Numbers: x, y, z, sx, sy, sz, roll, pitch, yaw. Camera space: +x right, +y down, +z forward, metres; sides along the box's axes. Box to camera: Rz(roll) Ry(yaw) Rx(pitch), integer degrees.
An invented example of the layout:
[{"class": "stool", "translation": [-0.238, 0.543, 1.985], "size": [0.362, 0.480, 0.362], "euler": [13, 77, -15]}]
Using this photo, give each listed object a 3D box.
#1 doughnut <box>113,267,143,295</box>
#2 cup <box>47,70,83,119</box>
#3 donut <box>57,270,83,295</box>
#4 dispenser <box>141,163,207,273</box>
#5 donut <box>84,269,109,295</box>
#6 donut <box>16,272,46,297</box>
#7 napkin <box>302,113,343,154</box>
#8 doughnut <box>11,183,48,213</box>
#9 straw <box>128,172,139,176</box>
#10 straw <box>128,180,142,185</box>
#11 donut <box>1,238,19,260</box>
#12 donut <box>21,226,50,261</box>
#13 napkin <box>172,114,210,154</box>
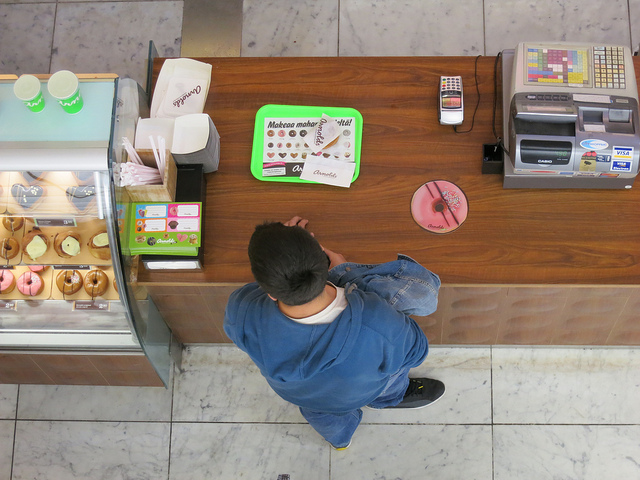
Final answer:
[{"class": "doughnut", "translation": [-0.884, 0.184, 2.730], "size": [0.128, 0.132, 0.055], "euler": [1, 2, -7]}, {"class": "cup", "translation": [-1.120, -0.632, 2.568], "size": [0.153, 0.149, 0.193], "euler": [-14, -6, -10]}, {"class": "donut", "translation": [-1.211, 0.206, 2.829], "size": [0.120, 0.110, 0.039], "euler": [8, -2, 0]}, {"class": "dispenser", "translation": [-0.693, -0.032, 2.822], "size": [0.269, 0.095, 0.430], "euler": [-9, 45, -8]}, {"class": "donut", "translation": [-1.079, 0.207, 2.812], "size": [0.124, 0.113, 0.043], "euler": [1, -5, 3]}, {"class": "donut", "translation": [-1.402, 0.216, 2.838], "size": [0.117, 0.108, 0.039], "euler": [9, -1, -3]}, {"class": "napkin", "translation": [0.014, -0.519, 2.851], "size": [0.125, 0.143, 0.159], "euler": [25, 42, 38]}, {"class": "doughnut", "translation": [-1.325, -0.193, 2.664], "size": [0.165, 0.129, 0.022], "euler": [2, 0, 9]}, {"class": "straw", "translation": [-0.834, -0.293, 2.600], "size": [0.031, 0.017, 0.010], "euler": [-13, 33, -14]}, {"class": "straw", "translation": [-0.829, -0.260, 2.606], "size": [0.047, 0.019, 0.009], "euler": [-18, 35, -22]}, {"class": "donut", "translation": [-1.467, 0.040, 2.771], "size": [0.085, 0.092, 0.048], "euler": [-10, 33, -9]}, {"class": "donut", "translation": [-1.335, 0.014, 2.756], "size": [0.132, 0.146, 0.046], "euler": [-17, 9, -7]}, {"class": "napkin", "translation": [-0.603, -0.498, 2.738], "size": [0.180, 0.140, 0.162], "euler": [-5, 31, -1]}]
